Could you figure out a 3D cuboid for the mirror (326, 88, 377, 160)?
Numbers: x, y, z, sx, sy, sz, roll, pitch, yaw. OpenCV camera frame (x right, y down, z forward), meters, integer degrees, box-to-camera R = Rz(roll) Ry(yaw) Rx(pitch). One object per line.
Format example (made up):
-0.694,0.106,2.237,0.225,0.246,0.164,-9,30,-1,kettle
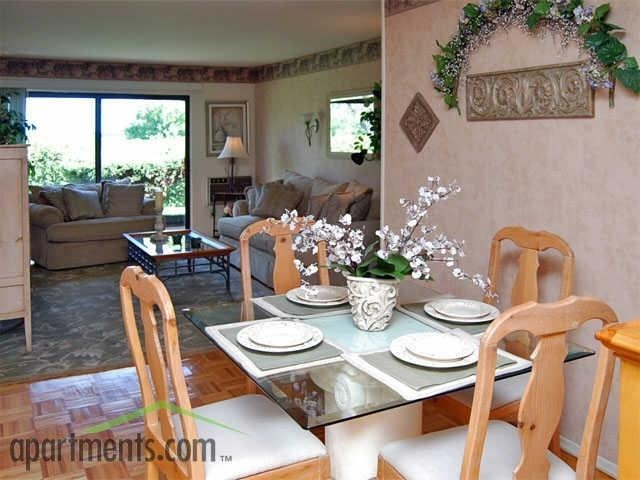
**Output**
0.392,-1.604,6.551,0.045,0.860,1.212,8,18,29,mirror

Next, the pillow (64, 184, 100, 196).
-3.569,-0.791,7.009,0.282,0.095,0.282,25,14,31,pillow

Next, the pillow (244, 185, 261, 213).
-1.023,-0.619,7.006,0.117,0.388,0.341,11,-10,-28,pillow

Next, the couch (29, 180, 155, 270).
-3.266,-0.269,6.747,0.923,1.073,1.663,15,16,41,couch

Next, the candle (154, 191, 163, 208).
-1.856,-0.455,5.322,0.072,0.204,0.118,-6,14,-28,candle

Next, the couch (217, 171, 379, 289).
-0.295,-0.128,6.051,1.220,1.357,2.815,-3,12,-29,couch

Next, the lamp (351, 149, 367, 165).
0.533,-1.111,6.260,0.219,0.214,0.239,3,12,11,lamp

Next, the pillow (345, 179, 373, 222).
0.480,-0.458,5.306,0.240,0.393,0.446,4,23,2,pillow

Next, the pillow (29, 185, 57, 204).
-3.968,-0.685,6.557,0.312,0.109,0.359,12,-2,0,pillow

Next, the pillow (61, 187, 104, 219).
-3.398,-0.523,6.663,0.236,0.450,0.574,2,6,19,pillow

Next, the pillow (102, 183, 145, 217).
-2.969,-0.585,6.909,0.511,0.528,0.185,-1,-13,-25,pillow

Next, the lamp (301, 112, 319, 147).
-0.193,-1.750,7.344,0.190,0.530,0.456,-5,13,-25,lamp

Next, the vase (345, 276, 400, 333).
0.231,0.270,1.960,0.244,0.207,0.244,1,-5,-6,vase
